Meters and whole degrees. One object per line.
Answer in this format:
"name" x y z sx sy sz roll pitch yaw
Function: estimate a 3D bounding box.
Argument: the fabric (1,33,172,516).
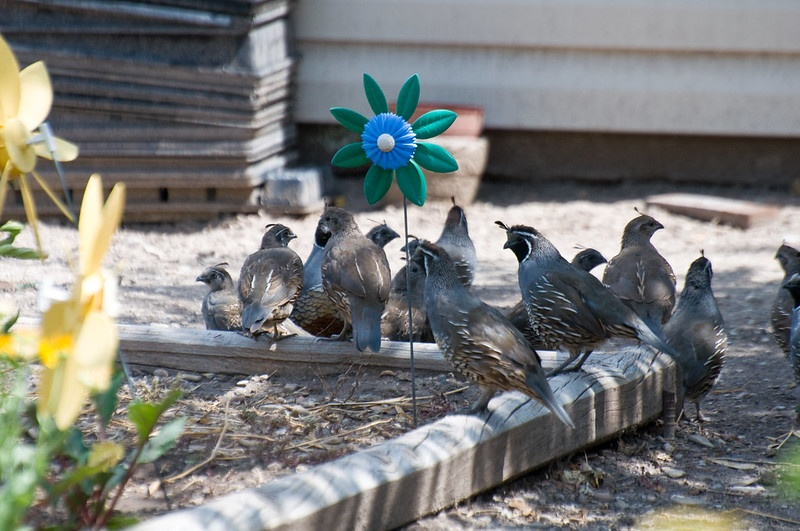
"fabric" -1.989 0.120 8.397 0.913 2.952 0.965 2 3 -21
